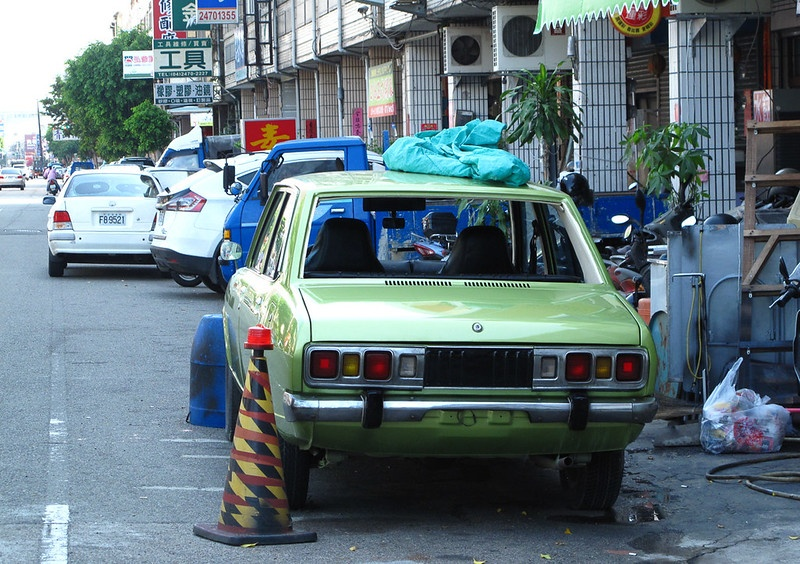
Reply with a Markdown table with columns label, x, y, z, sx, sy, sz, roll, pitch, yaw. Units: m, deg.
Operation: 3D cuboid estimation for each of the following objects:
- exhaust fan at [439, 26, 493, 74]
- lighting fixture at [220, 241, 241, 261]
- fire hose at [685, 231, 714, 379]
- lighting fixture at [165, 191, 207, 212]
| label | x | y | z | sx | sy | sz | roll | pitch | yaw |
| --- | --- | --- | --- | --- | --- | --- | --- | --- | --- |
| exhaust fan | 1.604 | -5.586 | 23.475 | 1.167 | 1.127 | 0.755 | -2 | 33 | 1 |
| lighting fixture | -1.420 | -0.267 | 8.415 | 0.148 | 0.170 | 0.209 | 0 | 6 | -17 |
| fire hose | 2.510 | 0.234 | 8.446 | 0.222 | 1.123 | 0.263 | -1 | 16 | 6 |
| lighting fixture | -3.449 | -1.311 | 16.079 | 0.776 | 0.318 | 0.170 | 5 | 9 | 32 |
